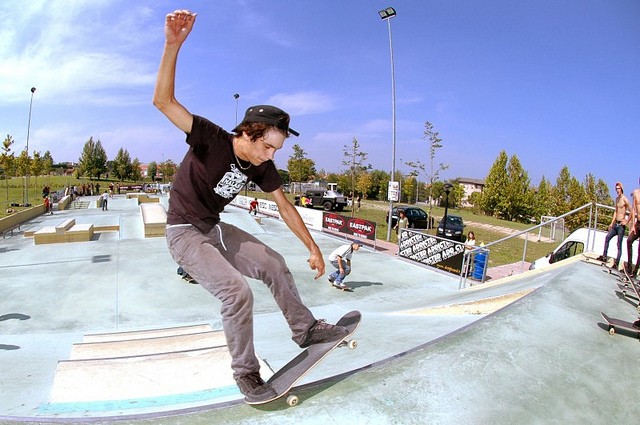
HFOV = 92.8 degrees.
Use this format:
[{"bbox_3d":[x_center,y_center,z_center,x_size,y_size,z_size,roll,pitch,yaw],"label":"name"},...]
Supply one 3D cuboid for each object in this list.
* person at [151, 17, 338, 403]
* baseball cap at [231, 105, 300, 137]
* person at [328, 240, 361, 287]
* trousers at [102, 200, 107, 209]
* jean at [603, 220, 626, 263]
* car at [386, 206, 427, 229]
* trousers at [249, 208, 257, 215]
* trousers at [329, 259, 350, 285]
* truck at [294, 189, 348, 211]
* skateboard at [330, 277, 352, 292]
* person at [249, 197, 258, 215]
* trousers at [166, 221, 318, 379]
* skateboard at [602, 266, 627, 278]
[{"bbox_3d":[-0.711,0.025,2.698,1.401,3.001,0.860,3,5,-11],"label":"person"},{"bbox_3d":[-0.456,-0.785,2.601,0.529,0.238,0.331,3,5,-16],"label":"baseball cap"},{"bbox_3d":[0.733,1.594,9.678,0.989,1.518,0.842,11,2,25],"label":"person"},{"bbox_3d":[-17.907,-0.622,25.190,0.207,0.806,1.114,0,7,-41],"label":"trousers"},{"bbox_3d":[7.253,0.683,7.510,0.424,1.160,0.280,16,-7,16],"label":"jean"},{"bbox_3d":[7.253,0.379,24.299,3.143,1.393,1.789,-4,8,-23],"label":"car"},{"bbox_3d":[-5.945,-0.011,26.728,0.553,0.521,0.259,15,0,6],"label":"trousers"},{"bbox_3d":[0.605,1.818,9.552,0.641,0.794,0.436,6,5,22],"label":"trousers"},{"bbox_3d":[0.088,-1.247,32.406,4.517,1.581,2.598,12,11,37],"label":"truck"},{"bbox_3d":[0.623,2.247,9.640,0.861,0.355,0.286,0,3,27],"label":"skateboard"},{"bbox_3d":[-6.151,-0.490,28.050,0.930,1.490,0.434,4,-20,2],"label":"person"},{"bbox_3d":[-0.753,0.753,2.781,1.259,1.273,0.641,6,5,20],"label":"trousers"},{"bbox_3d":[6.538,1.320,6.713,0.264,0.059,0.248,4,13,35],"label":"skateboard"}]
